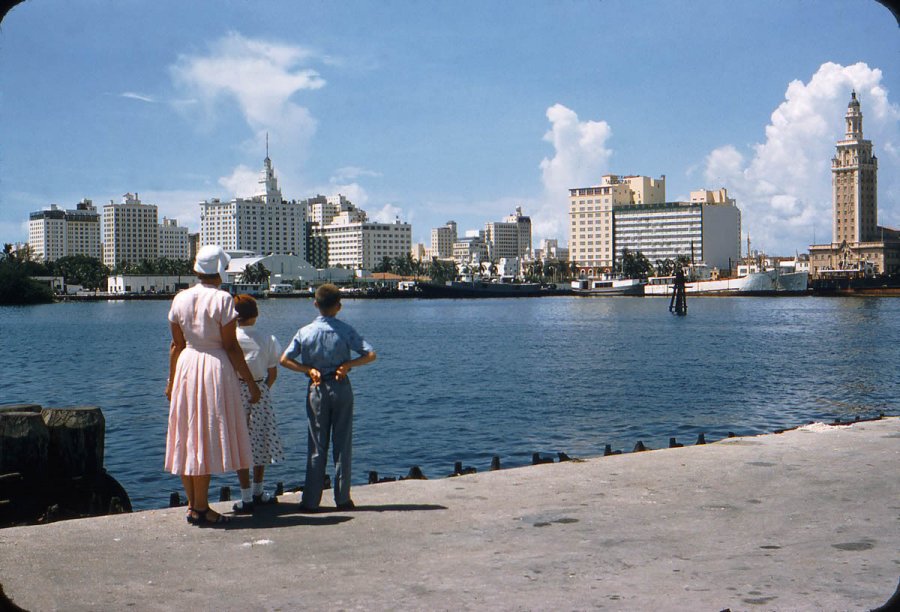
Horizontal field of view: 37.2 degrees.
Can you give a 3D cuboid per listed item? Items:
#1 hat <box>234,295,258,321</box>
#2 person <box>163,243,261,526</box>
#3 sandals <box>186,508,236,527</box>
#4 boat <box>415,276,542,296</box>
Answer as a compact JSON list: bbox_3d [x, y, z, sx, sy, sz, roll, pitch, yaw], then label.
[{"bbox_3d":[-3.202,0.054,20.836,0.332,0.379,0.393,-1,20,-7],"label":"hat"},{"bbox_3d":[-3.713,1.250,20.229,1.353,4.086,1.115,-6,14,-19],"label":"person"},{"bbox_3d":[-3.684,3.224,20.258,0.647,0.249,0.264,0,2,-11],"label":"sandals"},{"bbox_3d":[4.593,-2.581,188.381,18.993,2.551,3.994,5,-4,-29],"label":"boat"}]
